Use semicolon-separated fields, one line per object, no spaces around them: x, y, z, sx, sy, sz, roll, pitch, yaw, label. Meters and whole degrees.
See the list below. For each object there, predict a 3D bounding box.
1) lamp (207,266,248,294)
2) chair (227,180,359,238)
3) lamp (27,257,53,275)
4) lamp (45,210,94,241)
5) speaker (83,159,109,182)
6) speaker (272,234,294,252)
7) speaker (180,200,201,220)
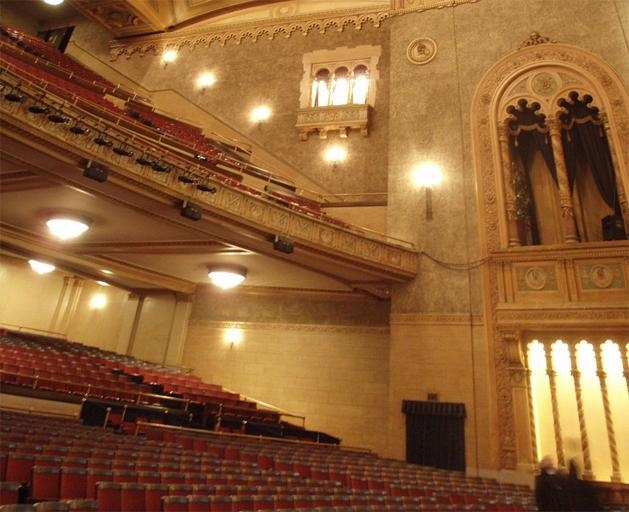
-2.035;0.539;12.884;0.910;0.329;0.838;11;-18;-33;lamp
-0.403;-1.318;12.366;2.417;1.856;2.396;1;-20;9;chair
-7.373;0.225;13.883;0.726;0.135;0.582;5;-37;5;lamp
-5.082;-0.669;10.653;0.829;0.398;0.493;11;-21;-20;lamp
-3.684;-1.436;8.778;0.417;0.337;0.327;13;-22;-22;speaker
-0.634;-0.277;10.501;0.356;0.205;0.195;20;-42;-34;speaker
-2.288;-0.879;9.600;0.375;0.257;0.195;20;-36;-35;speaker
